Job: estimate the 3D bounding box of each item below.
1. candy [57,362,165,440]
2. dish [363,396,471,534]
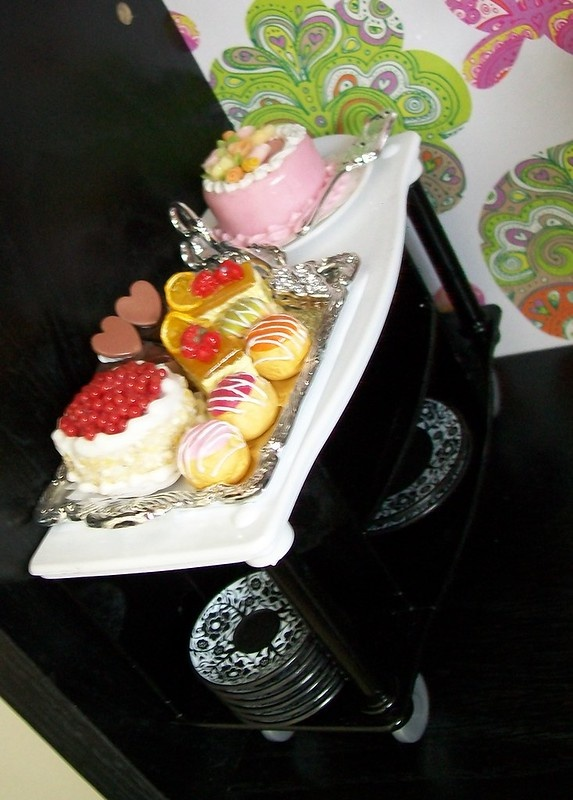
[{"bbox_3d":[-0.194,0.004,0.855,0.089,0.028,0.109,24,63,41],"label":"candy"},{"bbox_3d":[0.234,0.107,1.230,0.239,0.045,0.208,-3,57,33],"label":"dish"}]
